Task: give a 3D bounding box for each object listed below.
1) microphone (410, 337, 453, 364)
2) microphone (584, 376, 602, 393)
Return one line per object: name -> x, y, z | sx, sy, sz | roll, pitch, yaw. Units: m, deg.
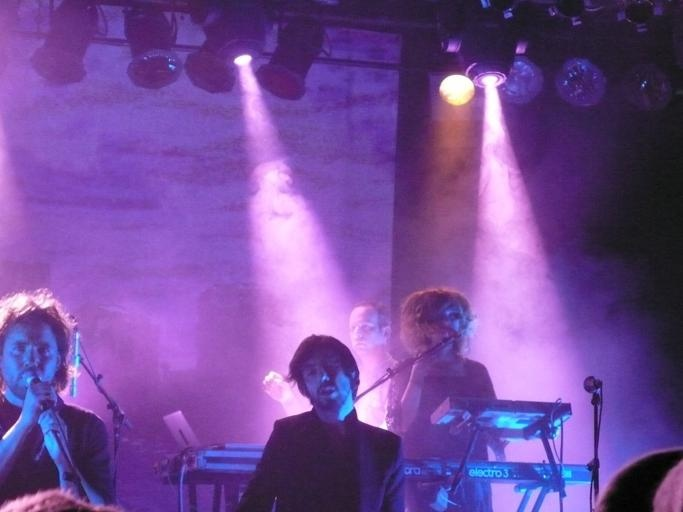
microphone -> 0.785, 0.799, 5.975 | 0.327, 0.069, 0.056 | -36, -1, 19
microphone -> 2.053, 1.047, 5.756 | 0.118, 0.148, 0.216 | -2, -17, 16
